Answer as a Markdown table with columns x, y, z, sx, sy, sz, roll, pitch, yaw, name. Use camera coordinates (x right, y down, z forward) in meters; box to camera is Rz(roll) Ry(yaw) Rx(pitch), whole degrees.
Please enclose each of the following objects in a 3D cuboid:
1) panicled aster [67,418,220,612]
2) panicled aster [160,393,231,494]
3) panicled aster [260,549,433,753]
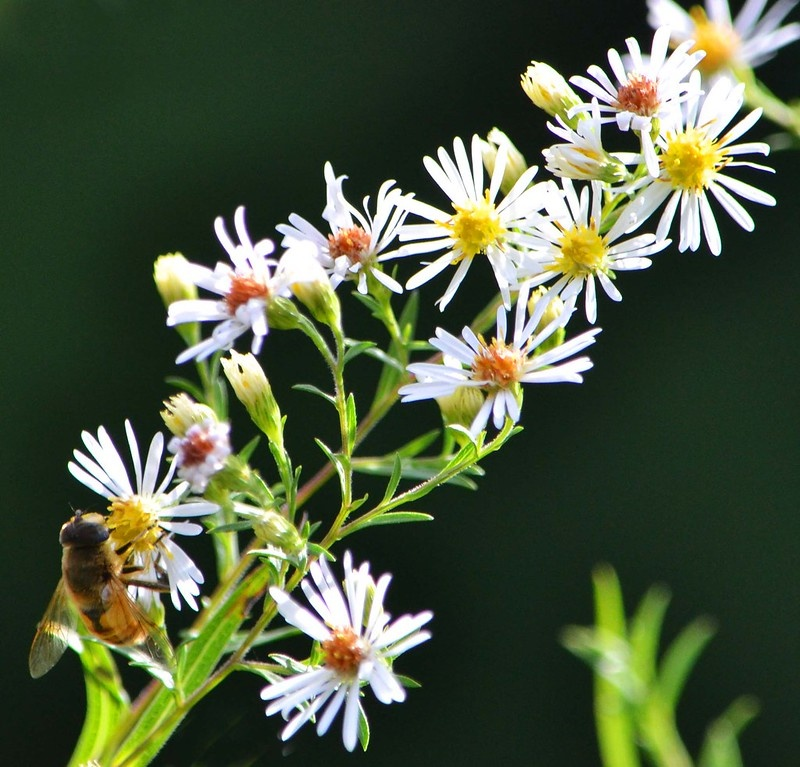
| x | y | z | sx | sy | sz | roll | pitch | yaw | name |
| --- | --- | --- | --- | --- | --- | --- | --- | --- | --- |
| -0.372 | 0.229 | 1.746 | 0.158 | 0.143 | 0.278 | 8 | 4 | -2 | panicled aster |
| -0.279 | 0.074 | 1.667 | 0.100 | 0.150 | 0.069 | -6 | -17 | 1 | panicled aster |
| -0.085 | 0.359 | 1.658 | 0.221 | 0.274 | 0.124 | -5 | 15 | 10 | panicled aster |
